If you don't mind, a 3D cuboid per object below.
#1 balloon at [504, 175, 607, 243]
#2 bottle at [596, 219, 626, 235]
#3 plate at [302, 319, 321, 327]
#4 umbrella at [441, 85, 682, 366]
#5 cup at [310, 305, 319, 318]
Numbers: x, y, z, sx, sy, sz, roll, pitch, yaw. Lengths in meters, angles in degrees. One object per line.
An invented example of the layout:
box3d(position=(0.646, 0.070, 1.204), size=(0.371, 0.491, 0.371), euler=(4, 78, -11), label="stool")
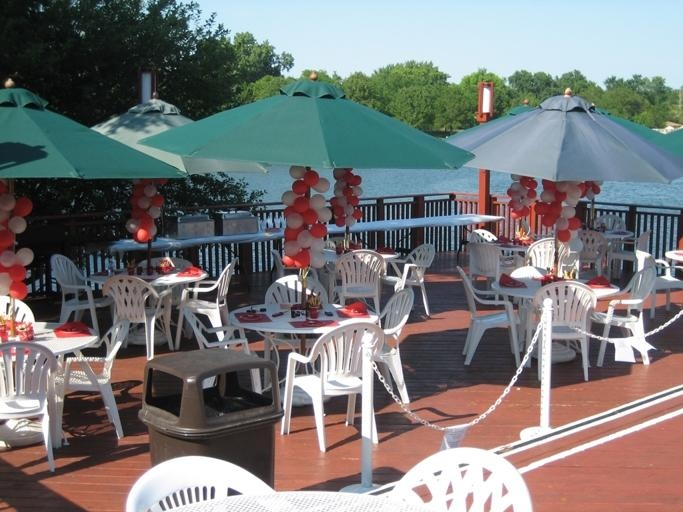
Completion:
box3d(position=(3.054, -0.644, 11.787), size=(1.098, 1.178, 0.423), euler=(2, 24, 4), label="balloon")
box3d(position=(4.597, -0.504, 14.101), size=(0.295, 0.400, 0.295), euler=(0, 8, 0), label="bottle")
box3d(position=(-0.284, 0.628, 7.737), size=(0.151, 0.039, 0.136), euler=(-1, 1, -3), label="plate")
box3d(position=(2.424, -0.668, 9.347), size=(1.913, 1.521, 1.984), euler=(-2, 16, -3), label="umbrella")
box3d(position=(-0.269, 0.542, 7.976), size=(0.083, 0.101, 0.094), euler=(-1, -1, -5), label="cup")
